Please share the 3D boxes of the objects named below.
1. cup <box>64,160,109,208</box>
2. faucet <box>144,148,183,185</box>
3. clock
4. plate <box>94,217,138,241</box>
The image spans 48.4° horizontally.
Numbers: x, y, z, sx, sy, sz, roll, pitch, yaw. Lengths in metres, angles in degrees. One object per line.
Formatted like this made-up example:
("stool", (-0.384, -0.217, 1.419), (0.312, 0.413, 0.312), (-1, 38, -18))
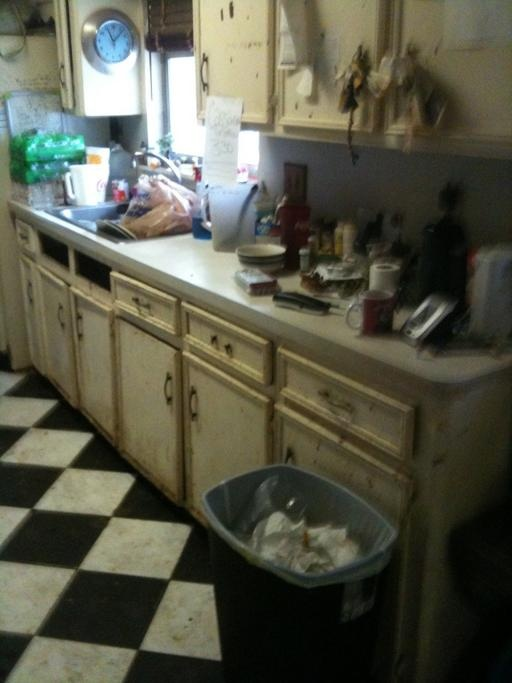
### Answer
("cup", (-0.836, -0.821, 2.915), (0.176, 0.204, 0.217), (26, 32, 38))
("faucet", (-0.490, -0.891, 2.860), (0.157, 0.134, 0.591), (-10, 23, -23))
("clock", (-0.696, -1.434, 2.711), (0.264, 0.270, 0.099), (-7, 20, -16))
("plate", (-0.550, -0.438, 2.227), (0.123, 0.035, 0.115), (33, 5, 24))
